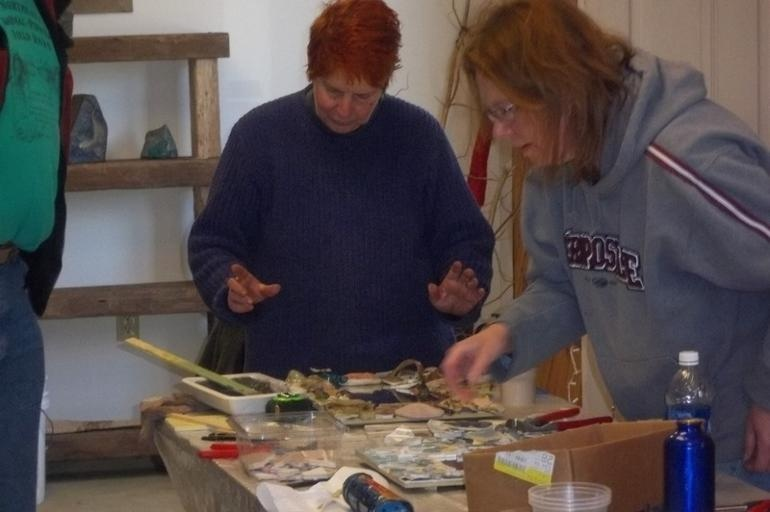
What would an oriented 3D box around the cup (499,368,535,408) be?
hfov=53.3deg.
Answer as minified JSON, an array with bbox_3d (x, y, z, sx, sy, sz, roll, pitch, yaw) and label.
[{"bbox_3d":[0.410,0.405,2.380,0.104,0.118,0.104,-1,2,0],"label":"cup"}]
